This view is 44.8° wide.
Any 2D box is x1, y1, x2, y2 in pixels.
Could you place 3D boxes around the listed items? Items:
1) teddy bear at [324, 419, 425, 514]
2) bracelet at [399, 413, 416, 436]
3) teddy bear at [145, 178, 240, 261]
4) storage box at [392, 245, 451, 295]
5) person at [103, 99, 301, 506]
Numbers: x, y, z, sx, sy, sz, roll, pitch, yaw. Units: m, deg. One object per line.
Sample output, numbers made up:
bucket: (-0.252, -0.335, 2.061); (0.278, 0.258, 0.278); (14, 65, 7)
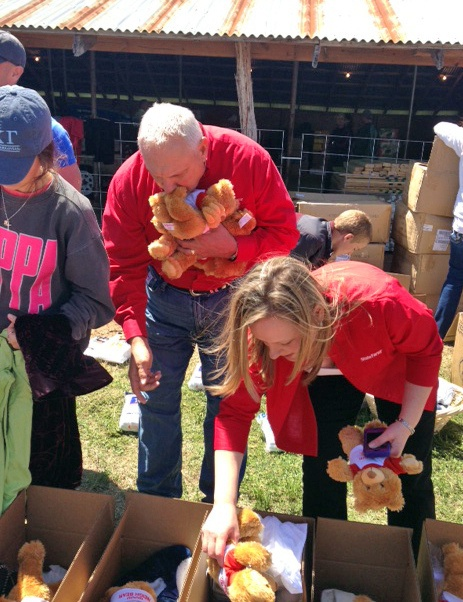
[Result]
teddy bear: (0.511, 0.593, 1.997); (0.308, 0.267, 0.409); (7, 16, 17)
bracelet: (0.622, 0.435, 1.981); (0.024, 0.060, 0.052); (-43, -6, -2)
teddy bear: (-0.163, -0.317, 2.135); (0.257, 0.172, 0.468); (13, 38, 39)
storage box: (1.875, -0.359, 5.714); (0.519, 0.455, 0.468); (-7, 28, -21)
person: (-0.140, 0.099, 2.495); (0.823, 1.857, 0.746); (-8, 20, -30)
